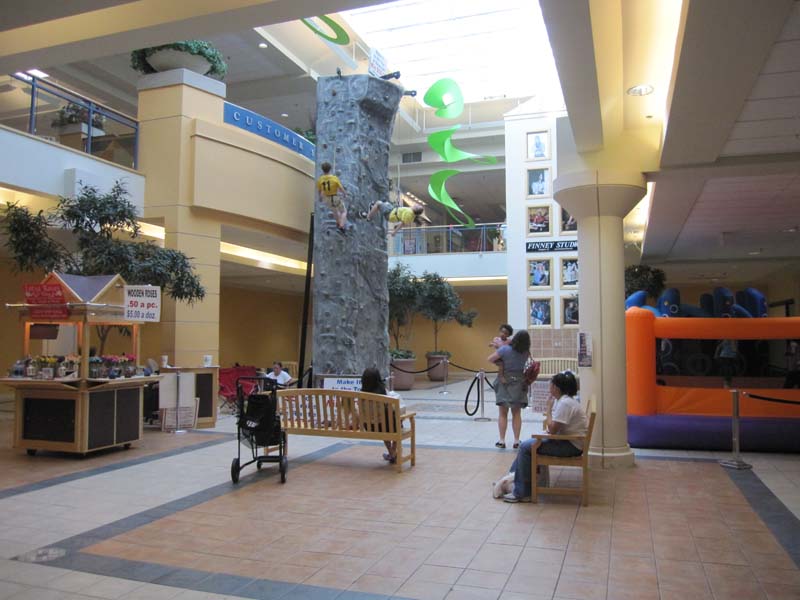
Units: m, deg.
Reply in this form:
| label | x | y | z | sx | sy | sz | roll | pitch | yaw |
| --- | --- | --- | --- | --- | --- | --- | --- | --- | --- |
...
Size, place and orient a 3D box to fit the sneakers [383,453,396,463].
| label | x | y | z | sx | sy | sz | roll | pitch | yaw |
| --- | --- | --- | --- | --- | --- | --- | --- | --- | --- |
| sneakers | -0.169 | 2.333 | 8.618 | 0.076 | 0.103 | 0.250 | 3 | -13 | -33 |

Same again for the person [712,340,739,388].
| label | x | y | z | sx | sy | sz | roll | pitch | yaw |
| --- | --- | --- | --- | --- | --- | --- | --- | --- | --- |
| person | 6.155 | 1.120 | 10.970 | 0.852 | 0.756 | 0.349 | 3 | -5 | -42 |

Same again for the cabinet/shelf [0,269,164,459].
| label | x | y | z | sx | sy | sz | roll | pitch | yaw |
| --- | --- | --- | --- | --- | --- | --- | --- | --- | --- |
| cabinet/shelf | -5.581 | 1.081 | 10.432 | 2.633 | 3.288 | 2.667 | 1 | -3 | 1 |

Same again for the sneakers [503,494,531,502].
| label | x | y | z | sx | sy | sz | roll | pitch | yaw |
| --- | --- | --- | --- | --- | --- | --- | --- | --- | --- |
| sneakers | 1.338 | 2.266 | 6.692 | 0.286 | 0.129 | 0.108 | 4 | -11 | -2 |

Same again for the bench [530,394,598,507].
| label | x | y | z | sx | sy | sz | roll | pitch | yaw |
| --- | --- | --- | --- | --- | --- | --- | --- | --- | --- |
| bench | 1.912 | 1.918 | 7.098 | 0.887 | 1.246 | 1.714 | 0 | -11 | 13 |

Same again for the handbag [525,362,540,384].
| label | x | y | z | sx | sy | sz | roll | pitch | yaw |
| --- | --- | --- | --- | --- | --- | --- | --- | --- | --- |
| handbag | 2.040 | 1.123 | 9.278 | 0.257 | 0.372 | 0.141 | 20 | -13 | -37 |
